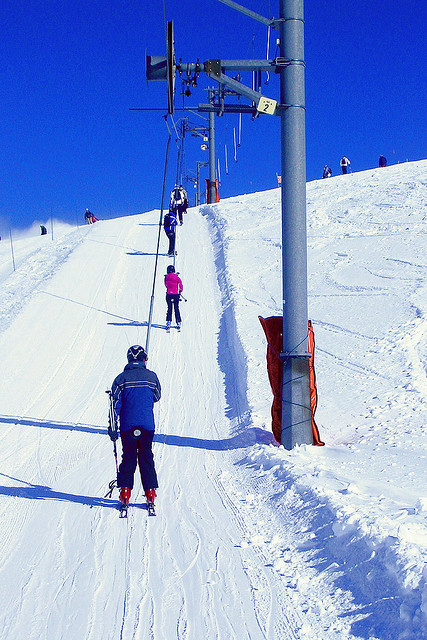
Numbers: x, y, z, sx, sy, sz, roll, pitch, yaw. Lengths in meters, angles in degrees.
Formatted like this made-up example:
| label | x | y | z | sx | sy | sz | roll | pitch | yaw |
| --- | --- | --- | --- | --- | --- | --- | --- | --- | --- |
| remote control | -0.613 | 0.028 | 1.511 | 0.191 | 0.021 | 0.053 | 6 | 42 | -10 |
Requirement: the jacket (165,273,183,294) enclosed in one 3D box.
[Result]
| label | x | y | z | sx | sy | sz | roll | pitch | yaw |
| --- | --- | --- | --- | --- | --- | --- | --- | --- | --- |
| jacket | -0.941 | -0.849 | 14.148 | 0.391 | 0.469 | 0.353 | 2 | 11 | 0 |

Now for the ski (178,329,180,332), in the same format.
| label | x | y | z | sx | sy | sz | roll | pitch | yaw |
| --- | --- | --- | --- | --- | --- | --- | --- | --- | --- |
| ski | -0.802 | 0.236 | 14.077 | 0.052 | 0.070 | 0.054 | -2 | 3 | -31 |

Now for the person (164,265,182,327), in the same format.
| label | x | y | z | sx | sy | sz | roll | pitch | yaw |
| --- | --- | --- | --- | --- | --- | --- | --- | --- | --- |
| person | -0.946 | -0.545 | 14.224 | 0.386 | 1.449 | 0.819 | 0 | 11 | -5 |

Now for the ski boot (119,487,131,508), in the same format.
| label | x | y | z | sx | sy | sz | roll | pitch | yaw |
| --- | --- | --- | --- | --- | --- | --- | --- | --- | --- |
| ski boot | -0.859 | 1.705 | 5.949 | 0.072 | 0.212 | 0.109 | 7 | -1 | 12 |

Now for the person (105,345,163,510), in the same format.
| label | x | y | z | sx | sy | sz | roll | pitch | yaw |
| --- | --- | --- | --- | --- | --- | --- | --- | --- | --- |
| person | -0.795 | 1.121 | 6.143 | 0.514 | 1.555 | 0.780 | 0 | 11 | -8 |

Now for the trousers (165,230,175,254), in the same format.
| label | x | y | z | sx | sy | sz | roll | pitch | yaw |
| --- | --- | --- | --- | --- | --- | --- | --- | --- | --- |
| trousers | -1.479 | -2.622 | 20.713 | 0.248 | 0.238 | 0.958 | 19 | -27 | 6 |

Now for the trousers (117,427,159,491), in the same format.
| label | x | y | z | sx | sy | sz | roll | pitch | yaw |
| --- | --- | --- | --- | --- | --- | --- | --- | --- | --- |
| trousers | -0.766 | 1.432 | 6.054 | 0.485 | 0.285 | 0.883 | 4 | 28 | -12 |

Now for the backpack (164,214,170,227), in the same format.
| label | x | y | z | sx | sy | sz | roll | pitch | yaw |
| --- | --- | --- | --- | --- | --- | --- | --- | --- | --- |
| backpack | -1.464 | -3.133 | 19.289 | 0.150 | 0.391 | 0.370 | 0 | 12 | -8 |

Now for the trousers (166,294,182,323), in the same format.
| label | x | y | z | sx | sy | sz | roll | pitch | yaw |
| --- | --- | --- | --- | --- | --- | --- | --- | --- | --- |
| trousers | -0.932 | -0.268 | 14.112 | 0.326 | 0.668 | 0.498 | 1 | 12 | -4 |

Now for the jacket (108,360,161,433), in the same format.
| label | x | y | z | sx | sy | sz | roll | pitch | yaw |
| --- | --- | --- | --- | --- | --- | --- | --- | --- | --- |
| jacket | -0.783 | 0.860 | 6.227 | 0.487 | 0.845 | 0.433 | 6 | -31 | -19 |

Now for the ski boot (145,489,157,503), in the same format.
| label | x | y | z | sx | sy | sz | roll | pitch | yaw |
| --- | --- | --- | --- | --- | --- | --- | --- | --- | --- |
| ski boot | -0.616 | 1.716 | 5.956 | 0.084 | 0.141 | 0.132 | 1 | -32 | -11 |
